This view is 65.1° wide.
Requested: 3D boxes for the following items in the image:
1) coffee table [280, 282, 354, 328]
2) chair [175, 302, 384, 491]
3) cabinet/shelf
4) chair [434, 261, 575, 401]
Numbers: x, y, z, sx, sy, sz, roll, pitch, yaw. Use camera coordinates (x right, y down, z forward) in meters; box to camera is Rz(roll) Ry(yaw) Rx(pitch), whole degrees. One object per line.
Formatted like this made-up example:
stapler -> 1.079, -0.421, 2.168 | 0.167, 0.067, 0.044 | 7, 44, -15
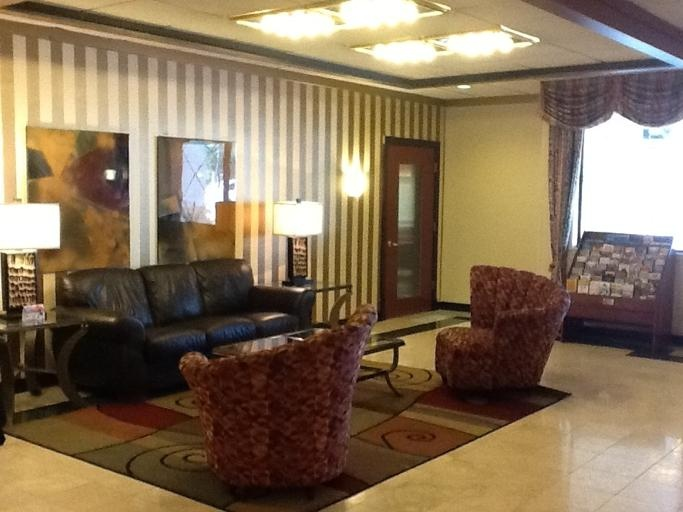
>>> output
coffee table -> -0.231, 0.599, 6.526 | 0.693, 0.622, 0.693 | 7, 8, 37
chair -> -0.398, 0.816, 3.278 | 1.032, 0.887, 0.924 | 7, 9, 43
cabinet/shelf -> 3.372, 0.421, 6.416 | 1.426, 1.581, 0.867 | 4, 4, 42
chair -> 1.449, 0.583, 5.083 | 1.216, 1.120, 1.181 | -1, 3, -31
